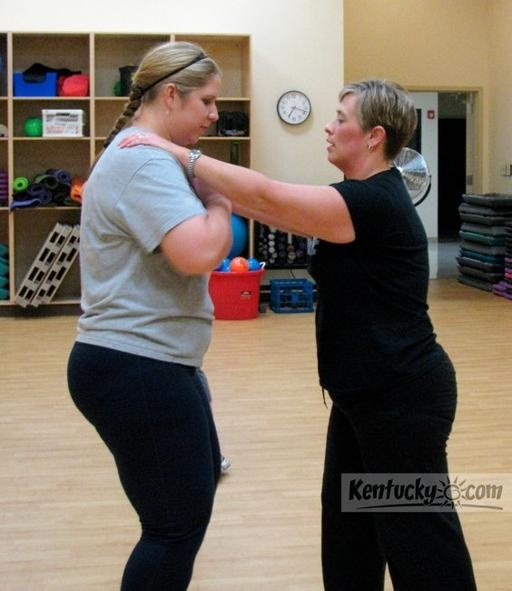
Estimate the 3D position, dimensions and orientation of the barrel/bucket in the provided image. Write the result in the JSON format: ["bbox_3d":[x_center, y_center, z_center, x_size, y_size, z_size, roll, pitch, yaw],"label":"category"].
[{"bbox_3d":[-0.211,-0.018,6.155,0.605,0.490,0.547,1,1,-15],"label":"barrel/bucket"}]

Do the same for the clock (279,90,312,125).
[{"bbox_3d":[0.432,-2.209,6.849,0.463,0.402,0.075,0,1,-4],"label":"clock"}]

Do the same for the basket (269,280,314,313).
[{"bbox_3d":[0.409,0.012,6.667,0.449,0.288,0.419,0,0,-5],"label":"basket"}]
